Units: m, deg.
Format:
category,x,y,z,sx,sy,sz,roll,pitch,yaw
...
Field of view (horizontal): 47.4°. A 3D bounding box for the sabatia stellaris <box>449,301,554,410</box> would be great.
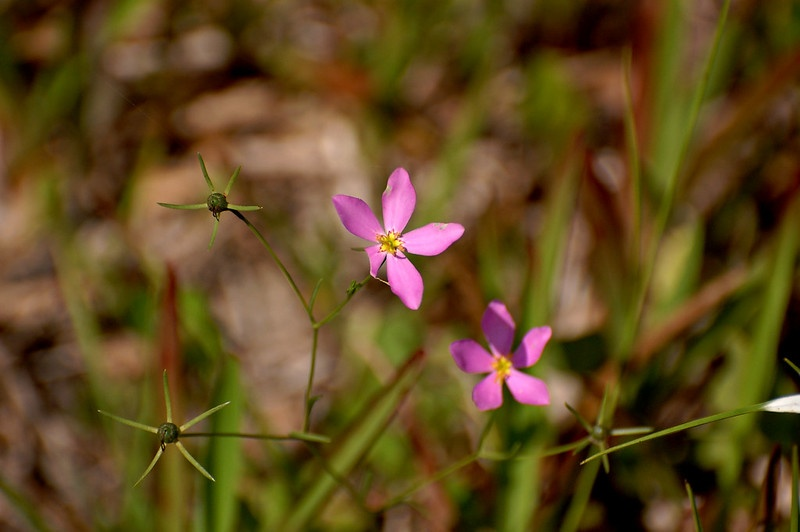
category,x,y,z,sx,sy,sz,roll,pitch,yaw
sabatia stellaris,0.351,0.333,3.170,0.356,0.297,0.292,4,51,2
